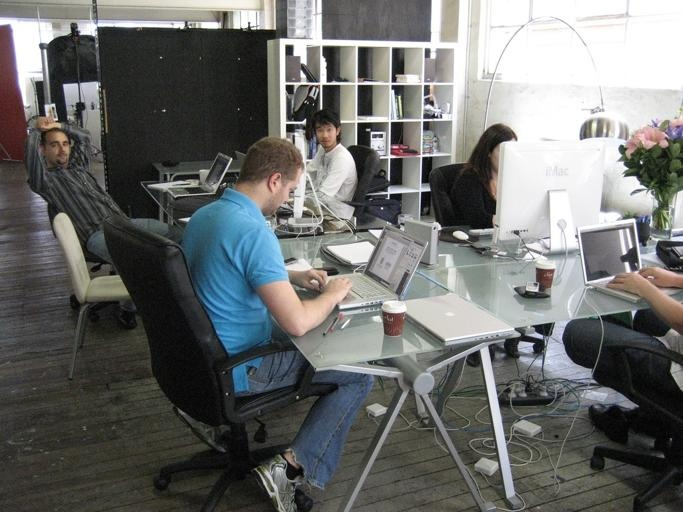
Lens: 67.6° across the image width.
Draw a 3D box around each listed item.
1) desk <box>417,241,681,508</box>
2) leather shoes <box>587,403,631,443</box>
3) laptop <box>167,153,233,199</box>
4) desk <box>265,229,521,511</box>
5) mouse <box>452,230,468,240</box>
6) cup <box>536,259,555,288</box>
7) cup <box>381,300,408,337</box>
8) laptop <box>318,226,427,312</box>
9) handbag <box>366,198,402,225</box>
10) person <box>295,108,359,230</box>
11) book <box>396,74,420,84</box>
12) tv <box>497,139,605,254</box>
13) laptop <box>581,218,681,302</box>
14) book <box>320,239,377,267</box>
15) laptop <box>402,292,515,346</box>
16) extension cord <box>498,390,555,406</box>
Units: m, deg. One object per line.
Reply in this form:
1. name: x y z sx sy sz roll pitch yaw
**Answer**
1. desk: 1.088 0.686 2.843 1.370 0.631 1.321 -7 21 -16
2. leather shoes: 1.510 0.929 2.908 0.120 0.104 0.253 -7 18 -9
3. laptop: -1.256 -0.662 4.516 0.507 0.323 0.542 -2 16 -17
4. desk: 0.221 0.597 2.595 1.177 1.045 1.357 -6 18 -15
5. mouse: 0.746 -0.140 3.223 0.063 0.038 0.075 -7 16 -27
6. cup: 0.989 0.085 2.545 0.122 0.123 0.120 -1 13 0
7. cup: 0.209 0.252 2.113 0.134 0.125 0.129 1 14 0
8. laptop: 0.159 0.074 2.442 0.414 0.252 0.419 -9 22 -14
9. handbag: 0.419 -0.446 4.861 0.404 0.150 0.316 8 5 -29
10. person: -0.169 -0.681 4.771 0.660 1.222 0.533 -20 40 -33
11. book: 0.802 -2.125 6.100 0.263 0.112 0.211 2 14 10
12. tv: 1.198 -0.350 2.918 0.667 0.553 0.205 -5 20 -12
13. laptop: 1.408 -0.069 2.634 0.480 0.329 0.403 -12 19 -24
14. book: 0.065 -0.018 2.858 0.196 0.033 0.178 -11 26 -24
15. laptop: 0.478 0.271 2.209 0.338 0.086 0.421 -7 15 -25
16. extension cord: 1.127 0.877 3.137 0.252 0.039 0.132 -3 16 -4
